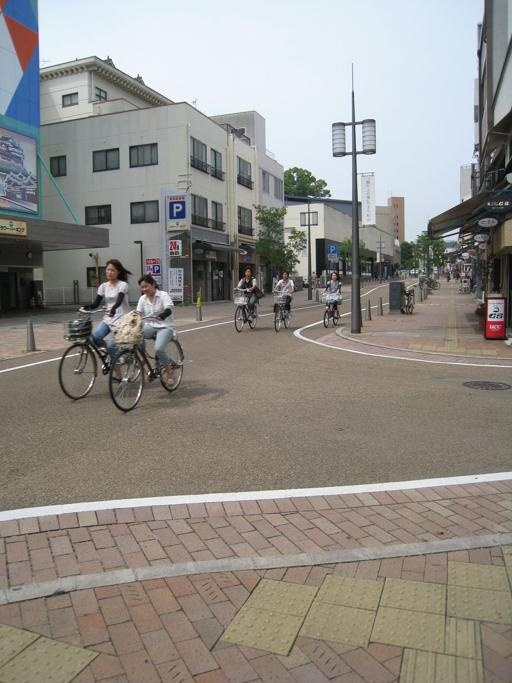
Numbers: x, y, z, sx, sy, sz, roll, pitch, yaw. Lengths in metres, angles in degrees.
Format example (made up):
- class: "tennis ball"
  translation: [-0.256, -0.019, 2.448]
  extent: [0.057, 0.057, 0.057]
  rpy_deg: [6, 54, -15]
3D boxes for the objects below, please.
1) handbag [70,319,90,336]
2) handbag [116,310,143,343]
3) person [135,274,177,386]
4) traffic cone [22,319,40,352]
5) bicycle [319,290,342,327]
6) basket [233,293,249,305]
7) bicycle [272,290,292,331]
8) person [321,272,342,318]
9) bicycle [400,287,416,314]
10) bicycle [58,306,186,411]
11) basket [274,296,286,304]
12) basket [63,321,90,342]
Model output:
- class: "handbag"
  translation: [-2.230, -0.172, 6.967]
  extent: [0.161, 0.180, 0.210]
  rpy_deg: [-1, -5, -32]
- class: "handbag"
  translation: [-1.546, -0.154, 6.801]
  extent: [0.249, 0.165, 0.384]
  rpy_deg: [-14, 43, 21]
- class: "person"
  translation: [-1.386, -0.193, 7.381]
  extent: [0.590, 1.412, 0.614]
  rpy_deg: [-7, 9, -26]
- class: "traffic cone"
  translation: [-5.576, -0.148, 13.715]
  extent: [0.247, 0.736, 1.352]
  rpy_deg: [-2, 5, -22]
- class: "bicycle"
  translation: [2.567, -1.102, 20.096]
  extent: [0.781, 1.302, 1.944]
  rpy_deg: [-1, 0, 18]
- class: "basket"
  translation: [-0.481, -1.317, 17.613]
  extent: [0.408, 0.354, 0.824]
  rpy_deg: [-1, 5, -1]
- class: "bicycle"
  translation: [0.859, -0.979, 18.085]
  extent: [0.503, 1.241, 1.393]
  rpy_deg: [0, 4, 4]
- class: "person"
  translation: [2.723, -1.626, 19.400]
  extent: [0.534, 1.723, 1.539]
  rpy_deg: [7, 14, 25]
- class: "bicycle"
  translation: [7.152, -1.946, 26.099]
  extent: [0.762, 1.139, 1.759]
  rpy_deg: [2, 18, 11]
- class: "bicycle"
  translation: [-1.681, 0.234, 7.421]
  extent: [1.002, 1.150, 1.631]
  rpy_deg: [3, 0, 30]
- class: "basket"
  translation: [0.759, -1.317, 17.619]
  extent: [0.218, 0.233, 0.477]
  rpy_deg: [1, 5, 25]
- class: "basket"
  translation: [-2.240, -0.134, 6.936]
  extent: [0.254, 0.228, 0.189]
  rpy_deg: [-3, -1, 35]
